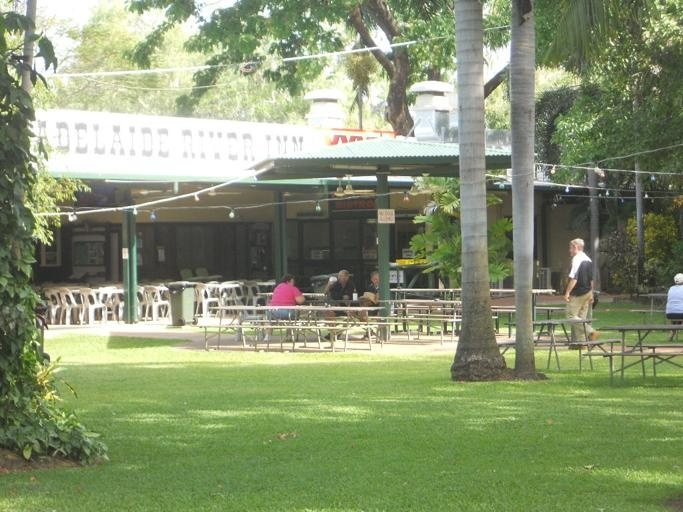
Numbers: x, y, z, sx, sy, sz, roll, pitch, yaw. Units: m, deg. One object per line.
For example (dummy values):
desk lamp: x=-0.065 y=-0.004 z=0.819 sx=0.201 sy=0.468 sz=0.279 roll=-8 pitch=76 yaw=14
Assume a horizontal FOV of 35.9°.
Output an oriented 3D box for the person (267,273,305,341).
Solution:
person: x=-1.057 y=0.995 z=20.171 sx=0.710 sy=1.246 sz=1.689 roll=-1 pitch=4 yaw=-4

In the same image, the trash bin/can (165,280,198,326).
trash bin/can: x=-3.852 y=1.129 z=24.752 sx=0.701 sy=1.336 sz=0.932 roll=-2 pitch=-3 yaw=43
